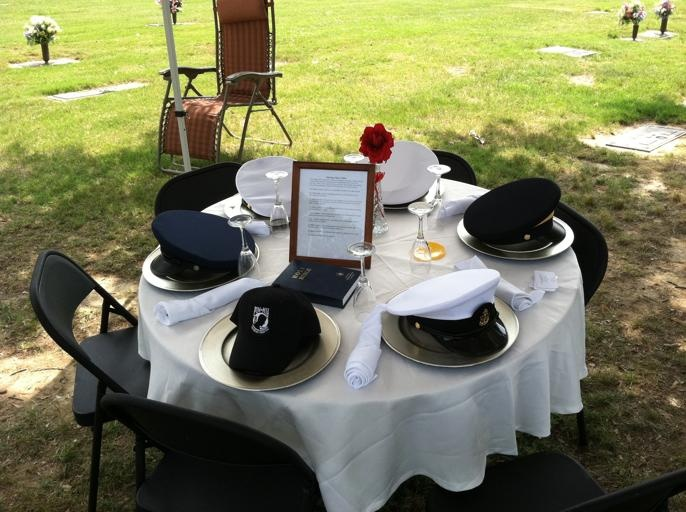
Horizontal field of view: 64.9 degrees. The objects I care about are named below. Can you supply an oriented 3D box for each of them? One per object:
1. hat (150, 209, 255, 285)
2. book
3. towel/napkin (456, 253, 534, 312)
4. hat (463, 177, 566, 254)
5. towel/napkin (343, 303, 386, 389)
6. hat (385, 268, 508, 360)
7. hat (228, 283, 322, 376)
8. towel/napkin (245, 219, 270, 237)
[{"bbox_3d":[-0.603,-0.041,2.410,0.403,0.172,0.320,6,42,2],"label":"hat"},{"bbox_3d":[-0.108,0.107,2.298,0.261,0.065,0.199,13,37,23],"label":"book"},{"bbox_3d":[0.654,0.129,2.284,0.181,0.091,0.270,-27,48,-26],"label":"towel/napkin"},{"bbox_3d":[0.784,-0.189,2.474,0.377,0.157,0.390,-8,27,7],"label":"hat"},{"bbox_3d":[0.104,0.353,2.074,0.117,0.102,0.332,-20,37,33],"label":"towel/napkin"},{"bbox_3d":[0.395,0.230,2.049,0.331,0.203,0.391,-29,38,-35],"label":"hat"},{"bbox_3d":[-0.254,0.261,1.996,0.266,0.194,0.348,16,32,14],"label":"hat"},{"bbox_3d":[-0.426,-0.136,2.654,0.092,0.035,0.079,7,45,0],"label":"towel/napkin"}]
